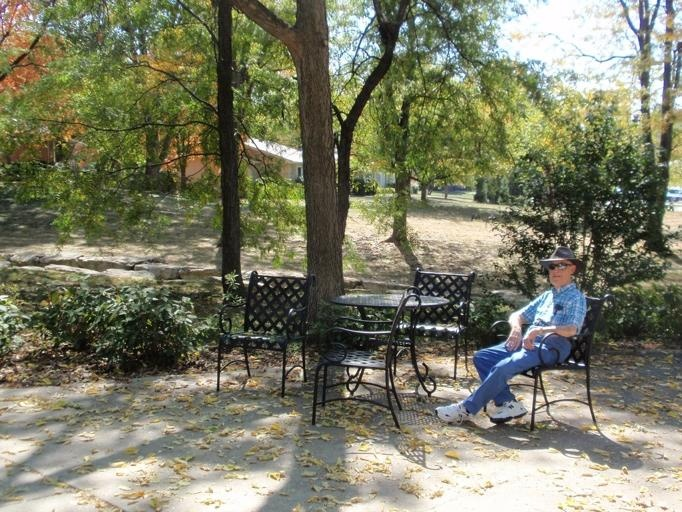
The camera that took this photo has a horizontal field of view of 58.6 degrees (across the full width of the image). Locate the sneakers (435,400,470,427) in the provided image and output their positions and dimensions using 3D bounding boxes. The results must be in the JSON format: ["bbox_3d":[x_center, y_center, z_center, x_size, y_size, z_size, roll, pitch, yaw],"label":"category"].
[{"bbox_3d":[1.238,1.741,6.748,0.456,0.218,0.168,5,37,-4],"label":"sneakers"}]

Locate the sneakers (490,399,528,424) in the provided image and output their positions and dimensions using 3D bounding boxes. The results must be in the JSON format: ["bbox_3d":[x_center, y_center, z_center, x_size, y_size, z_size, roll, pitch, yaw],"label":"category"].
[{"bbox_3d":[1.850,1.711,6.742,0.380,0.273,0.225,4,9,5],"label":"sneakers"}]

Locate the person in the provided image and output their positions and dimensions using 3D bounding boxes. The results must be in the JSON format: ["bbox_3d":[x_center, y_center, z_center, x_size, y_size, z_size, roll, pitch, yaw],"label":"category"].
[{"bbox_3d":[2.021,0.856,6.929,1.369,1.953,0.766,2,9,-4],"label":"person"}]
